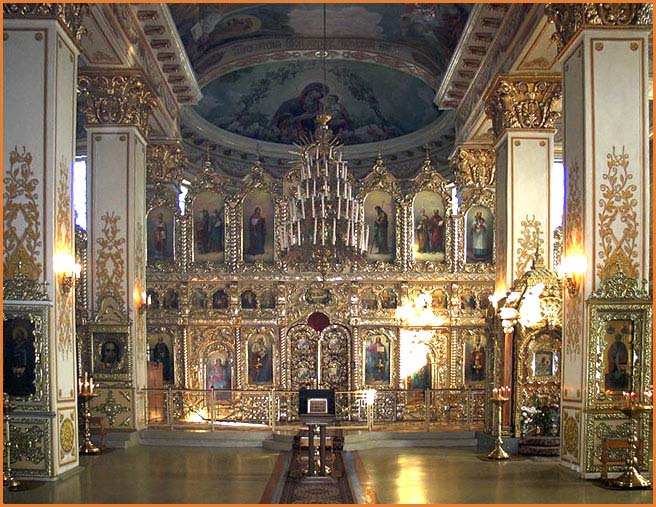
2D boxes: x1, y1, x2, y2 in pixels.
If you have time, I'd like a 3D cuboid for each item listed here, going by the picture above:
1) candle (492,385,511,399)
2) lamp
[{"bbox_3d":[3.549,2.836,16.426,0.311,0.316,0.316,1,-6,0],"label":"candle"},{"bbox_3d":[-0.138,-1.301,15.297,1.359,3.442,1.459,6,-11,-34],"label":"lamp"}]
